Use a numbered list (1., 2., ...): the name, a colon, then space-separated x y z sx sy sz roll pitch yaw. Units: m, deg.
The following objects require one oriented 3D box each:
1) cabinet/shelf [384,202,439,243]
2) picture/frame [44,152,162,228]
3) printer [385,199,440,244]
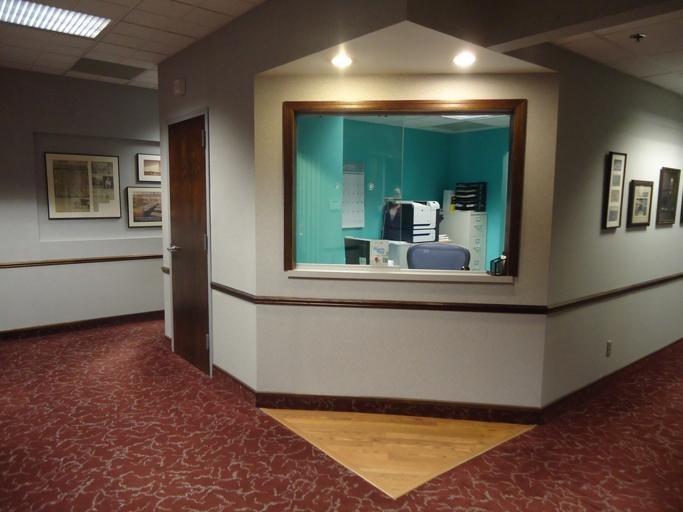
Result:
1. cabinet/shelf: 0.740 -0.354 4.843 0.325 0.455 0.609 5 7 40
2. picture/frame: -3.403 -0.948 6.640 1.032 0.750 0.025 -6 9 -40
3. printer: 0.730 -0.361 4.851 0.335 0.472 0.629 7 10 43
